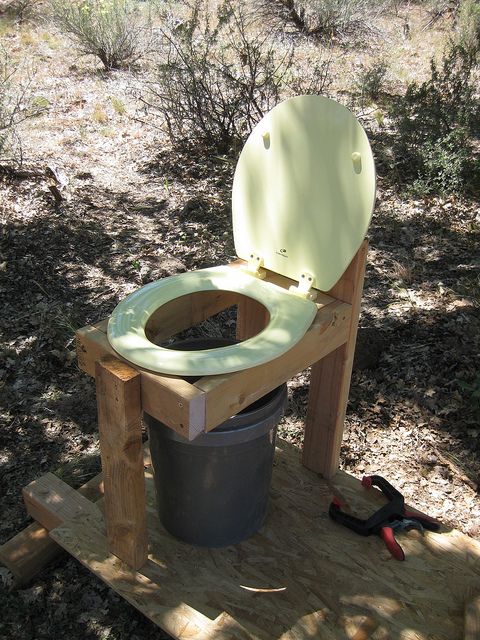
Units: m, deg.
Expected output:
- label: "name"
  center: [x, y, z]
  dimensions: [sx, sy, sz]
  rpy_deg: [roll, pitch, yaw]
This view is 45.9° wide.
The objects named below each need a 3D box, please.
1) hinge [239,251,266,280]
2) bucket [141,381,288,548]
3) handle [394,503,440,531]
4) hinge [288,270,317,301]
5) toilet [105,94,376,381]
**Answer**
- label: "hinge"
  center: [0.041, -0.162, 1.668]
  dimensions: [0.073, 0.066, 0.039]
  rpy_deg: [29, 51, 23]
- label: "bucket"
  center: [-0.087, 0.373, 1.592]
  dimensions: [0.438, 0.411, 0.409]
  rpy_deg: [2, 17, -1]
- label: "handle"
  center: [0.521, 0.567, 1.641]
  dimensions: [0.101, 0.024, 0.061]
  rpy_deg: [13, 26, 12]
- label: "hinge"
  center: [0.177, -0.095, 1.559]
  dimensions: [0.054, 0.058, 0.062]
  rpy_deg: [-36, 49, -23]
- label: "toilet"
  center: [-0.020, -0.194, 1.438]
  dimensions: [0.722, 0.494, 0.493]
  rpy_deg: [-31, 43, -29]
